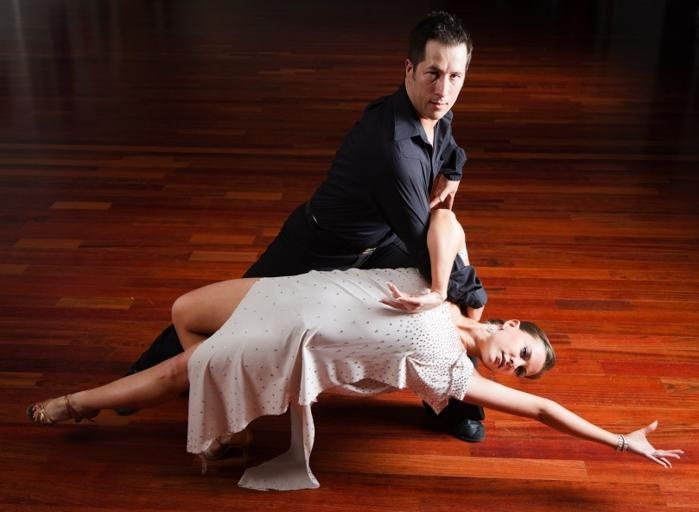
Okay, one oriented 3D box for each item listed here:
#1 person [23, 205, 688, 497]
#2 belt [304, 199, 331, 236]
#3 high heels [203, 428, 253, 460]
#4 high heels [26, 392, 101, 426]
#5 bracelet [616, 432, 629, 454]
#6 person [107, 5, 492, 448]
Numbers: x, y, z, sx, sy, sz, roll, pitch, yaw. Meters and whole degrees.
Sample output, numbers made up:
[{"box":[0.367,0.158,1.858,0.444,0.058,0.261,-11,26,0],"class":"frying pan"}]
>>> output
[{"box":[-0.061,0.355,2.213,2.077,0.425,1.254,1,19,-2],"class":"person"},{"box":[-0.096,-0.152,2.237,0.029,0.105,0.116,-40,-10,-5],"class":"belt"},{"box":[-0.406,0.661,2.184,0.123,0.125,0.135,4,15,7],"class":"high heels"},{"box":[-1.010,0.537,2.201,0.289,0.097,0.070,-3,10,16],"class":"high heels"},{"box":[0.883,0.613,2.029,0.043,0.050,0.025,11,59,17],"class":"bracelet"},{"box":[-0.006,-0.165,2.355,1.619,1.384,0.610,13,31,9],"class":"person"}]
